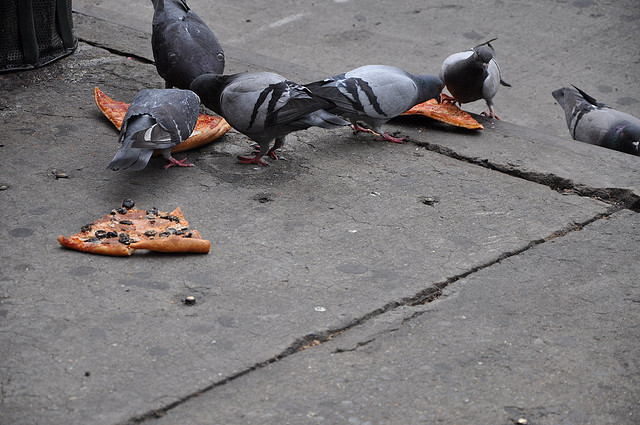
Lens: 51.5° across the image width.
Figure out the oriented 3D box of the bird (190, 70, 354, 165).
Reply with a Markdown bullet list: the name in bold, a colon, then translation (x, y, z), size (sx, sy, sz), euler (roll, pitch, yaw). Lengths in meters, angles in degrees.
- **bird**: translation (-0.390, -0.885, 5.943), size (1.561, 0.637, 0.570), euler (4, 12, 28)

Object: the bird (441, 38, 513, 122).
- **bird**: translation (1.641, -1.482, 7.031), size (0.725, 0.642, 1.069), euler (22, 44, 10)

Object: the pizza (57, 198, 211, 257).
- **pizza**: translation (-1.295, 0.122, 4.914), size (1.040, 0.130, 0.622), euler (5, 31, 2)
